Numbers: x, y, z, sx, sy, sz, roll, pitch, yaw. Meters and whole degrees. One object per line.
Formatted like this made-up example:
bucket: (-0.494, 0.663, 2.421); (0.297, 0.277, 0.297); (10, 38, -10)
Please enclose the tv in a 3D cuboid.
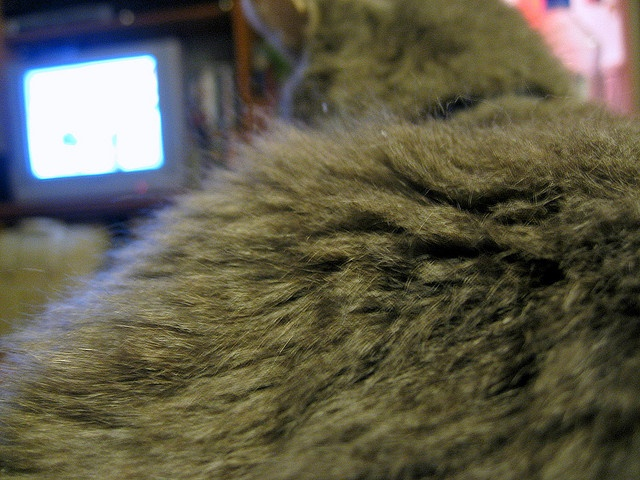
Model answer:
tv: (-0.266, -0.136, 0.927); (0.261, 0.168, 0.120); (-5, -10, 13)
